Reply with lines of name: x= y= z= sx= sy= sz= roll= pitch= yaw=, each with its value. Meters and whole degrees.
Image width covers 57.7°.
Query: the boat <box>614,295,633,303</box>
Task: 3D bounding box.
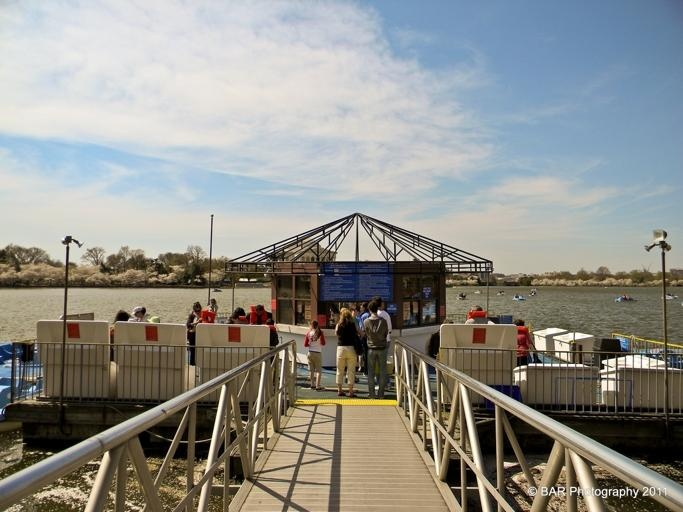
boat: x=59.148 y=9.044 z=130.229 sx=4.721 sy=1.498 sz=1.982 roll=-1 pitch=4 yaw=-11

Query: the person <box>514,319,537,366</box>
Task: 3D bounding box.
person: x=4.190 y=2.051 z=14.160 sx=0.417 sy=0.894 sz=0.897 roll=-7 pitch=-6 yaw=29

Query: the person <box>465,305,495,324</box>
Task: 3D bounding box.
person: x=3.086 y=1.374 z=14.098 sx=0.550 sy=0.258 sz=0.769 roll=1 pitch=0 yaw=7

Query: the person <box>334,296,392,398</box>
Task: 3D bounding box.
person: x=0.454 y=2.051 z=13.529 sx=1.095 sy=2.033 sz=1.398 roll=0 pitch=-4 yaw=-1
